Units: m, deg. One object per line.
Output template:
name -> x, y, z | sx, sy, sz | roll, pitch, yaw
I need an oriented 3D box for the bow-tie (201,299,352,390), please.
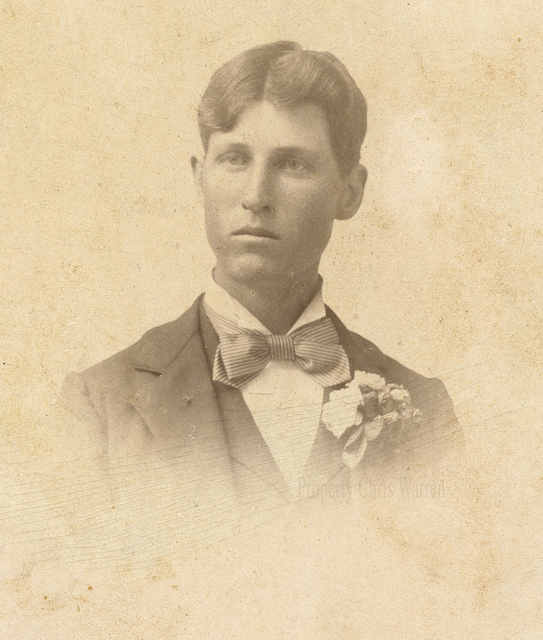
bow-tie -> 0.017, 0.067, 3.710 | 0.410, 0.096, 0.245 | -1, 79, 0
